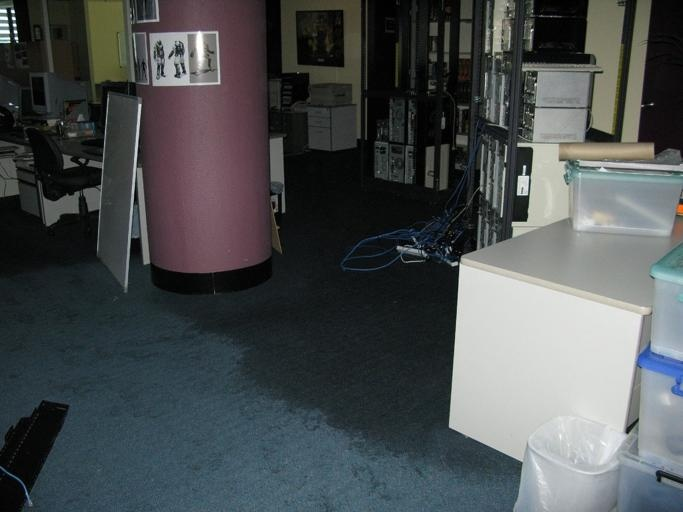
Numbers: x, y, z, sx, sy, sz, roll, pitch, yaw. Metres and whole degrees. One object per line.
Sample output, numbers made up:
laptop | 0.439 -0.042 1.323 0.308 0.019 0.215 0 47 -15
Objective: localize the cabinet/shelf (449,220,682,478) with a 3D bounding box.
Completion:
cabinet/shelf | 1.072 0.265 2.589 0.827 1.125 1.634 9 23 29

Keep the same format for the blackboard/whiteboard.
blackboard/whiteboard | -1.870 -0.499 4.300 0.071 1.496 1.262 -2 33 -34

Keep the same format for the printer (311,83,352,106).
printer | -0.212 -3.046 9.470 0.508 0.356 0.531 11 20 34

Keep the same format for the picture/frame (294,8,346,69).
picture/frame | -0.387 -4.350 10.025 0.051 1.045 1.142 -18 27 -37

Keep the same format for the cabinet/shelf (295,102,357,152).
cabinet/shelf | -0.301 -2.485 9.743 0.796 1.026 1.319 -14 19 -42

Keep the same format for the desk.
desk | -2.579 -0.610 4.972 1.383 0.740 0.718 20 23 39
